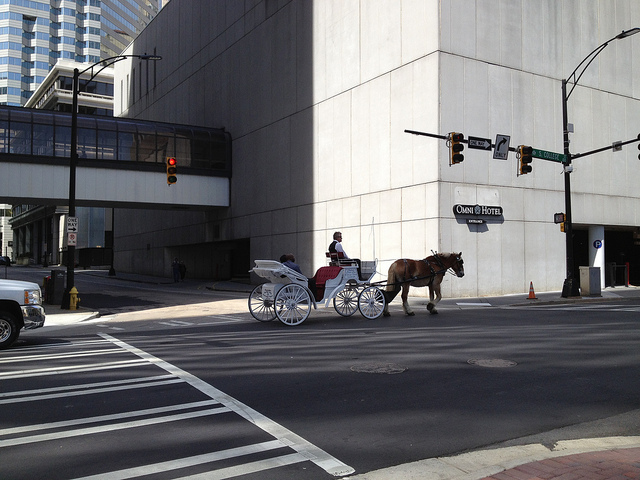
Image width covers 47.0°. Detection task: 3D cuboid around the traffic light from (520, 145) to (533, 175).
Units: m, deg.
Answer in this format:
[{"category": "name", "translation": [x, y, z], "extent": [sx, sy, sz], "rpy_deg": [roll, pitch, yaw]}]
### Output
[{"category": "traffic light", "translation": [8.867, -3.507, 31.559], "extent": [0.514, 1.136, 0.556], "rpy_deg": [1, 6, 15]}]

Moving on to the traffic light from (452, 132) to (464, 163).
[{"category": "traffic light", "translation": [5.575, -3.766, 29.720], "extent": [0.413, 1.174, 0.657], "rpy_deg": [0, 6, 9]}]

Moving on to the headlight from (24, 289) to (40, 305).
[{"category": "headlight", "translation": [-8.119, 1.610, 20.735], "extent": [0.375, 0.418, 0.383], "rpy_deg": [1, -1, -22]}]

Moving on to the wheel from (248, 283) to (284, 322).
[{"category": "wheel", "translation": [-1.802, 2.165, 24.973], "extent": [1.306, 1.475, 0.372], "rpy_deg": [0, 8, -5]}]

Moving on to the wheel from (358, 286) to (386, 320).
[{"category": "wheel", "translation": [1.797, 2.156, 25.311], "extent": [0.807, 0.864, 0.236], "rpy_deg": [25, -10, -31]}]

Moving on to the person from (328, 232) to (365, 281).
[{"category": "person", "translation": [0.862, 0.555, 25.312], "extent": [1.289, 1.632, 0.728], "rpy_deg": [3, 7, 35]}]

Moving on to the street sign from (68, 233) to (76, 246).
[{"category": "street sign", "translation": [-10.125, -0.069, 30.022], "extent": [0.453, 0.694, 0.066], "rpy_deg": [-1, 1, -20]}]

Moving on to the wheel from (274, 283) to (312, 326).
[{"category": "wheel", "translation": [-0.900, 2.068, 24.199], "extent": [1.189, 1.495, 1.372], "rpy_deg": [-1, 6, -5]}]

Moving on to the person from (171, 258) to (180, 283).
[{"category": "person", "translation": [-10.525, 2.214, 53.885], "extent": [0.383, 1.656, 1.161], "rpy_deg": [-2, 6, -13]}]

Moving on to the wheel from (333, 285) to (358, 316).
[{"category": "wheel", "translation": [0.929, 2.101, 25.672], "extent": [0.205, 1.222, 1.144], "rpy_deg": [4, 1, 26]}]

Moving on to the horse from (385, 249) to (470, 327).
[{"category": "horse", "translation": [3.822, 1.534, 26.381], "extent": [3.076, 2.389, 1.004], "rpy_deg": [1, -3, -18]}]

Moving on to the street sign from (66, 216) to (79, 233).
[{"category": "street sign", "translation": [-10.073, -0.632, 29.973], "extent": [0.372, 0.635, 0.587], "rpy_deg": [-4, 7, -28]}]

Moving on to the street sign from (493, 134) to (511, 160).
[{"category": "street sign", "translation": [8.044, -4.173, 32.525], "extent": [0.923, 1.005, 0.430], "rpy_deg": [-5, 7, -36]}]

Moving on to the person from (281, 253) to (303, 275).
[{"category": "person", "translation": [-1.056, 0.927, 29.071], "extent": [1.129, 0.837, 0.548], "rpy_deg": [7, 20, 26]}]

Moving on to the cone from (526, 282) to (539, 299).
[{"category": "cone", "translation": [9.449, 2.283, 32.714], "extent": [0.532, 0.784, 0.560], "rpy_deg": [-2, -1, -11]}]
